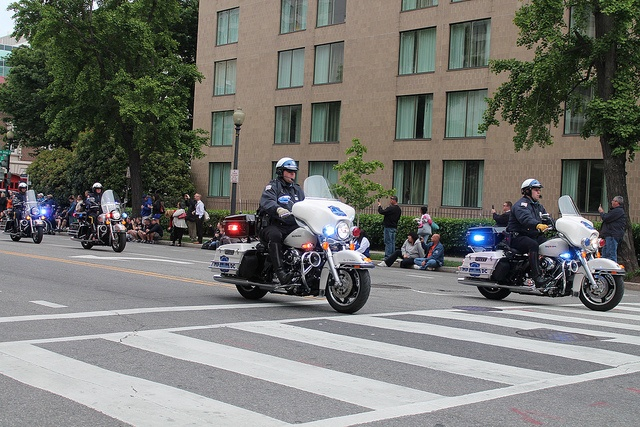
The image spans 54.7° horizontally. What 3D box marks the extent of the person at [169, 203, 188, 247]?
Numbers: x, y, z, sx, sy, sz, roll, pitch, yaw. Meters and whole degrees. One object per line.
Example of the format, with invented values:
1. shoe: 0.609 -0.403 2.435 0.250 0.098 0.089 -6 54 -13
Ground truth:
1. person: -6.702 0.526 29.671 0.721 2.048 1.135 2 2 -13

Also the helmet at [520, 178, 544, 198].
1. helmet: 4.518 -0.574 13.364 0.482 0.402 0.423 3 -2 31

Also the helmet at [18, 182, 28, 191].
1. helmet: -11.763 -1.071 24.745 0.371 0.397 0.462 1 0 -31

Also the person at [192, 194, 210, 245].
1. person: -5.698 0.267 29.553 0.684 2.337 1.218 2 2 -8

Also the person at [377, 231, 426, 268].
1. person: 2.947 1.402 23.376 1.722 1.285 1.072 -2 2 -11

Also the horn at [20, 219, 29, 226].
1. horn: -11.741 0.367 24.736 0.346 0.247 0.164 3 2 16

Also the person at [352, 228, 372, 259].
1. person: 1.129 0.859 17.586 0.729 0.868 1.588 -5 -7 1

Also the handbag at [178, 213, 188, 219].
1. handbag: -6.488 0.116 29.485 0.222 0.270 0.679 2 2 8

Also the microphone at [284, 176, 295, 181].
1. microphone: -0.561 -0.687 11.473 0.114 0.147 0.137 4 23 -34

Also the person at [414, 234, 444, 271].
1. person: 4.016 1.405 22.617 0.908 1.333 0.972 1 2 -36
